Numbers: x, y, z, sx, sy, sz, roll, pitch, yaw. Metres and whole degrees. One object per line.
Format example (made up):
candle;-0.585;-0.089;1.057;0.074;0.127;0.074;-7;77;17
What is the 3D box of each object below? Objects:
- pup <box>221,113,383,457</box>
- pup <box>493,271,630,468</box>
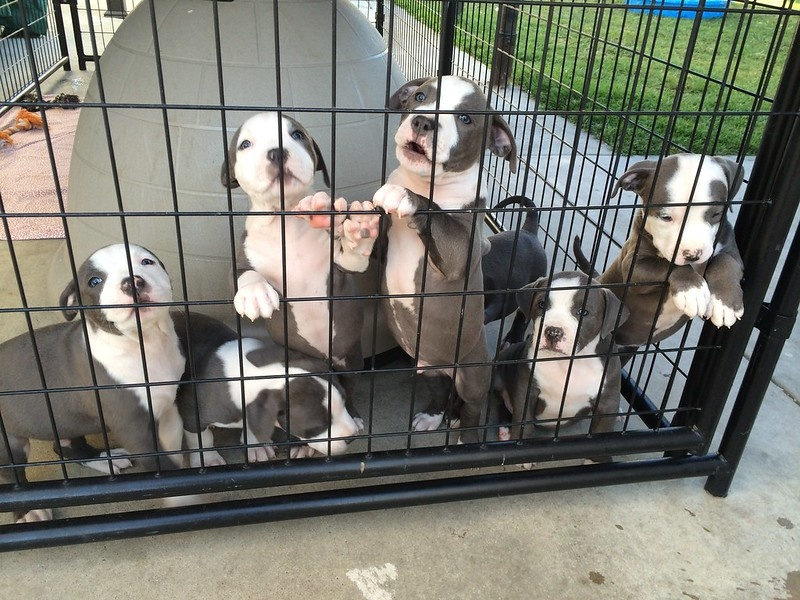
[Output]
pup;-0.297;0.019;2.023;0.512;1.419;0.700;-7;33;-14
pup;0.624;0.233;2.182;0.498;0.646;0.847;-1;4;1
